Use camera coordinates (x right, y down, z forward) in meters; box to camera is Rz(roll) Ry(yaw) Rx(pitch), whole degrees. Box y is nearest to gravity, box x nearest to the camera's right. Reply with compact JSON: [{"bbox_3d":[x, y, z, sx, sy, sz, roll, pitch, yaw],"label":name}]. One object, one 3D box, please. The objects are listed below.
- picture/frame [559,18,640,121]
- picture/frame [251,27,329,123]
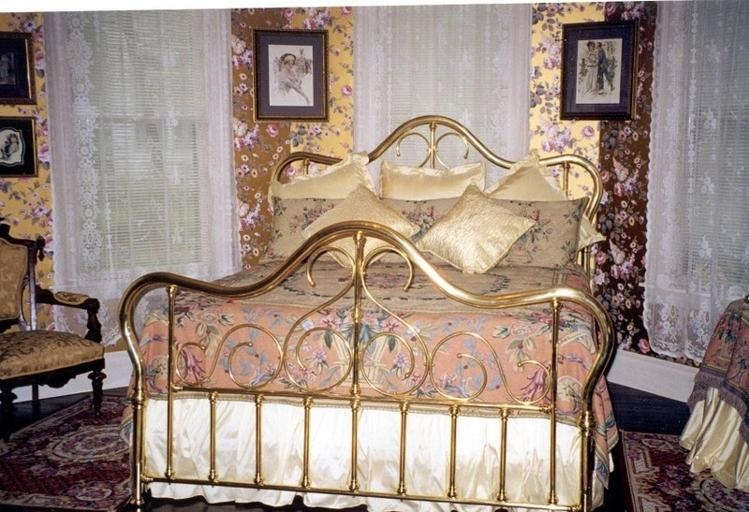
[{"bbox_3d":[1.588,-1.317,4.763,0.690,0.950,0.065,3,9,28],"label":"picture/frame"},{"bbox_3d":[-0.653,-1.373,5.057,0.687,0.807,0.057,0,8,-8],"label":"picture/frame"}]
